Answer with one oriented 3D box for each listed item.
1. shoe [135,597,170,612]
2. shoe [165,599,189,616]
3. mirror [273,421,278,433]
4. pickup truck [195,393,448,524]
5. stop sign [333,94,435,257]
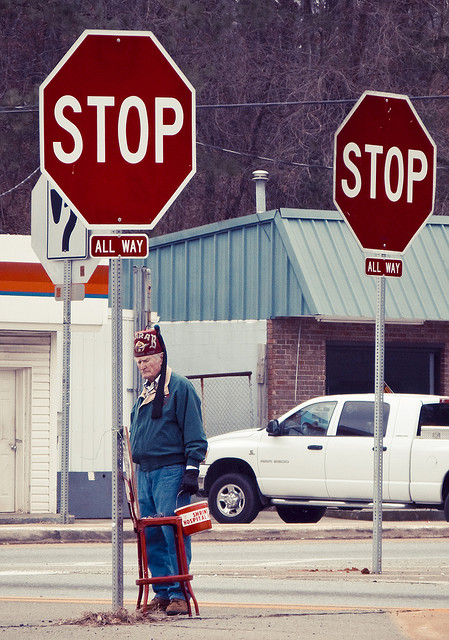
[{"bbox_3d":[-0.500,2.005,13.604,0.258,0.148,0.096,5,-8,-27],"label":"shoe"},{"bbox_3d":[-0.322,2.005,13.470,0.155,0.109,0.108,-3,0,-4],"label":"shoe"},{"bbox_3d":[0.571,1.207,21.744,0.039,0.156,0.093,0,7,39],"label":"mirror"},{"bbox_3d":[1.164,1.555,21.634,2.905,1.430,0.900,-3,-1,30],"label":"pickup truck"},{"bbox_3d":[1.316,-1.197,15.809,1.032,1.324,0.321,-2,0,-34],"label":"stop sign"}]
